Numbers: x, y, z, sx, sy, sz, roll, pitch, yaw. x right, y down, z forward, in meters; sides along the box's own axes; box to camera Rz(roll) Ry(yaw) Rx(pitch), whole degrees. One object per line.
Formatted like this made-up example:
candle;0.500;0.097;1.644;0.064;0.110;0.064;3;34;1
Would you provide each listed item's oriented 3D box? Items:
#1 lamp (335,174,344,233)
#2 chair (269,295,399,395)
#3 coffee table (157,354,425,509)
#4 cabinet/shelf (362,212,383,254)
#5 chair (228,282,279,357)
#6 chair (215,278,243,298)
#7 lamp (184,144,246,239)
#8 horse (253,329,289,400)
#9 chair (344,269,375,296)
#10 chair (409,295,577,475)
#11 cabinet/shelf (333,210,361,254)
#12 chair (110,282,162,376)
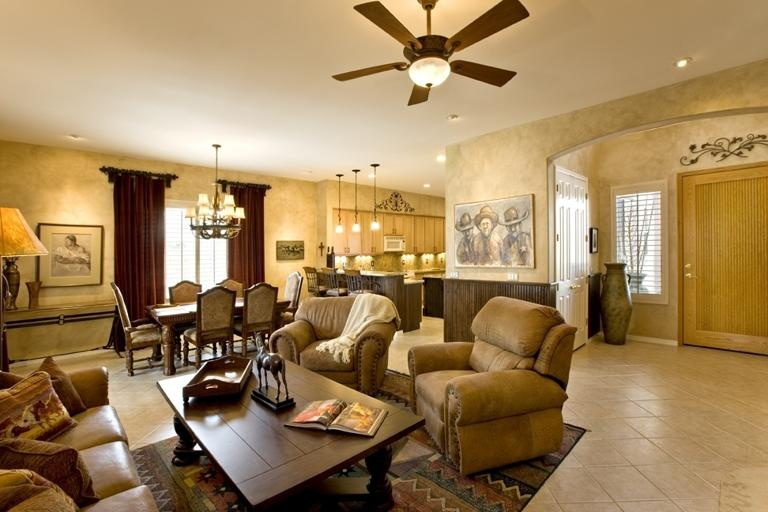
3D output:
lamp;-0.918;-1.029;10.209;0.180;1.147;0.601;-2;2;-5
chair;-0.578;1.108;6.306;1.515;1.035;0.878;-2;9;20
coffee table;-0.866;1.791;4.691;1.650;1.096;1.829;-2;2;-41
cabinet/shelf;-0.385;-0.474;11.340;0.362;0.955;0.571;-18;4;-38
chair;-2.010;0.908;7.351;0.648;1.117;0.669;-1;10;-37
chair;-2.422;0.522;7.679;0.298;0.504;0.284;0;5;-34
lamp;-2.572;-0.957;7.505;0.878;1.312;0.778;0;2;-27
horse;-1.140;1.098;4.881;0.194;0.627;0.679;-3;4;-41
chair;-0.500;0.499;9.119;0.476;0.663;0.506;-1;1;37
chair;1.084;1.255;5.448;1.396;1.441;1.593;-4;7;-17
cabinet/shelf;-0.681;-0.474;10.752;0.371;0.983;1.074;-9;9;-43
chair;-3.488;1.069;7.100;0.914;1.119;0.864;-6;-3;-1
